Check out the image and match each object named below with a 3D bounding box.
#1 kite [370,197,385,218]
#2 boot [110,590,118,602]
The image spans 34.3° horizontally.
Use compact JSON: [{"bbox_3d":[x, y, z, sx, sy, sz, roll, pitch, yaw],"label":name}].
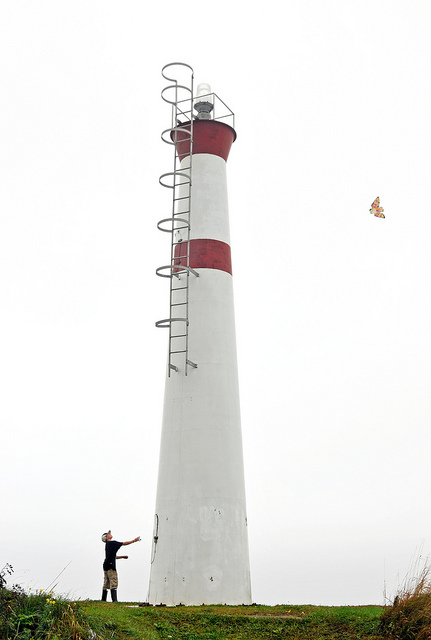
[{"bbox_3d":[4.470,-3.136,19.325,0.306,0.617,0.371,3,-32,-2],"label":"kite"},{"bbox_3d":[-2.381,6.424,16.326,0.118,0.256,0.252,13,-34,-18],"label":"boot"}]
